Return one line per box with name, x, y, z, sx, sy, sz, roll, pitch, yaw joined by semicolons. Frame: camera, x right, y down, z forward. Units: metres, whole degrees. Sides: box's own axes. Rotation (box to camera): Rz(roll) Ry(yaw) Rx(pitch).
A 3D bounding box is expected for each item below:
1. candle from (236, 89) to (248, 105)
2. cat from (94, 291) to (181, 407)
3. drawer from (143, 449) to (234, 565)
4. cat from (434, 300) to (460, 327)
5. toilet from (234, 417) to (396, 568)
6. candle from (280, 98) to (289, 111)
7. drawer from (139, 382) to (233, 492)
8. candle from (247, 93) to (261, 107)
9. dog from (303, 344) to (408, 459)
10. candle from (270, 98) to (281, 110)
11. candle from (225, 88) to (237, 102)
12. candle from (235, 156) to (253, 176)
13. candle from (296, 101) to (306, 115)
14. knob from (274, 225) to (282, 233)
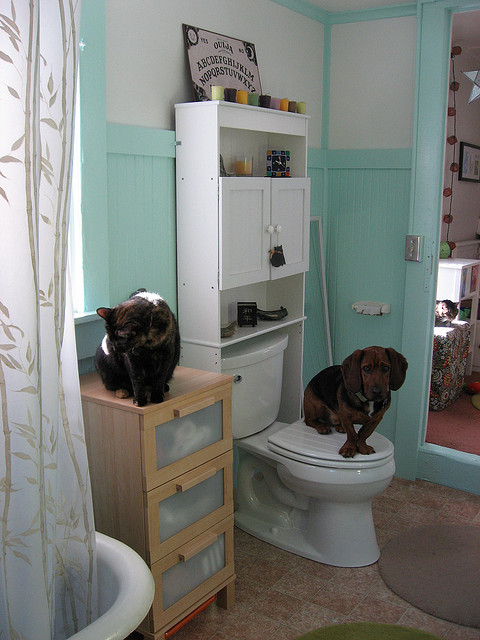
candle;0.008;-0.794;1.805;0.039;0.065;0.043;-7;20;-29
cat;-0.235;0.052;1.364;0.177;0.301;0.287;-1;20;-4
drawer;-0.189;0.563;1.528;0.191;0.267;0.365;-2;2;38
cat;1.424;-0.043;3.483;0.187;0.223;0.150;2;2;-22
toilet;0.321;0.619;2.109;0.582;0.507;0.447;11;19;35
candle;0.175;-0.855;2.012;0.047;0.039;0.009;-7;9;-44
drawer;-0.181;0.325;1.497;0.183;0.270;0.350;8;12;34
candle;0.053;-0.806;1.855;0.039;0.070;0.050;-1;10;8
dog;0.432;0.284;2.010;0.201;0.436;0.485;1;8;-20
candle;0.141;-0.841;1.969;0.036;0.050;0.041;4;26;9
candle;-0.029;-0.780;1.762;0.048;0.043;0.019;-6;8;-40
candle;0.016;-0.600;1.987;0.069;0.087;0.138;-1;7;0
candle;0.260;-0.888;2.128;0.030;0.059;0.074;1;7;18
knob;0.157;-0.363;2.019;0.019;0.029;0.079;1;7;17
